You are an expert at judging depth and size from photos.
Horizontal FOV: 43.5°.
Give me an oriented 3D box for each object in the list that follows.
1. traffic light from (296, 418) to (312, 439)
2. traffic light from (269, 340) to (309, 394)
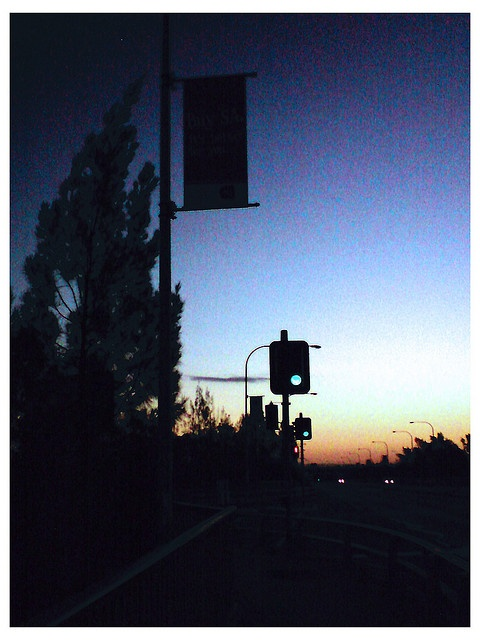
[{"bbox_3d":[2.110,3.692,20.612,0.685,0.746,0.413,-1,-6,28],"label":"traffic light"},{"bbox_3d":[0.806,0.767,9.646,0.502,1.268,0.094,-1,-3,6],"label":"traffic light"}]
